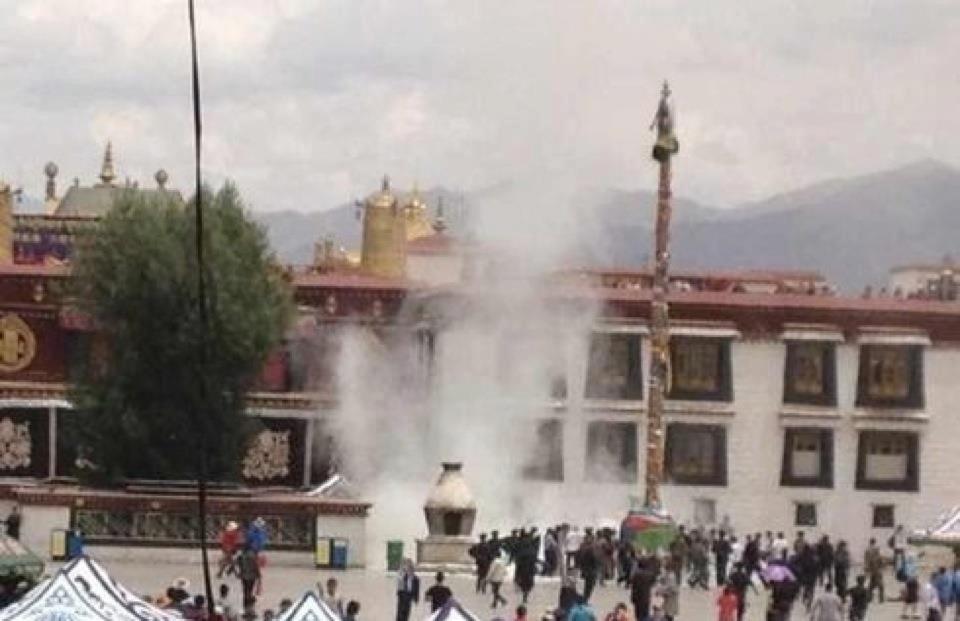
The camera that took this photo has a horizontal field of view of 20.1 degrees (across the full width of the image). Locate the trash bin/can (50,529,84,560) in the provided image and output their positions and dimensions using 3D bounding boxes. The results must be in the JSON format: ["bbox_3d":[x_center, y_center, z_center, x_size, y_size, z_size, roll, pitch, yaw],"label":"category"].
[{"bbox_3d":[-11.817,6.676,77.114,1.167,1.017,1.076,3,-4,-10],"label":"trash bin/can"}]
